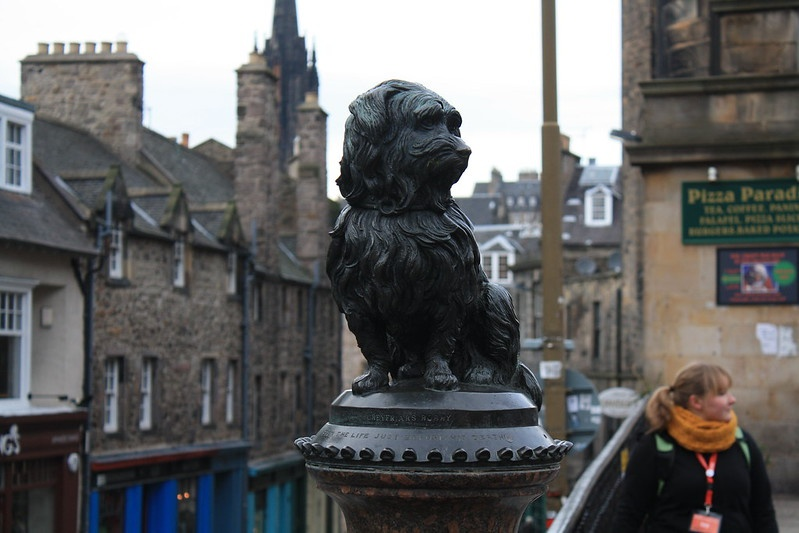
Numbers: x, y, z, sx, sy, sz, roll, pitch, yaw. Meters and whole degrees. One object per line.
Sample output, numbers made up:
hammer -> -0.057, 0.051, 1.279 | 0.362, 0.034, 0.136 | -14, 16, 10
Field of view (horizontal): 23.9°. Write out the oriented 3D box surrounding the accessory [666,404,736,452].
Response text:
accessory -> 3.652, 1.982, 22.905 | 0.521, 0.347, 0.618 | 0, 1, 34
